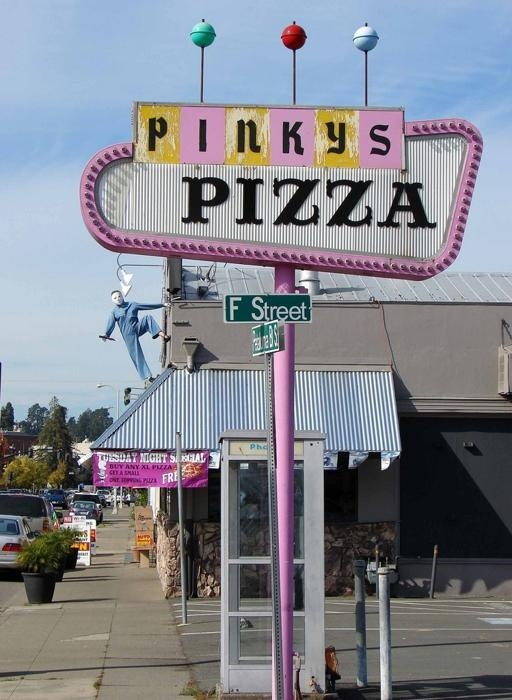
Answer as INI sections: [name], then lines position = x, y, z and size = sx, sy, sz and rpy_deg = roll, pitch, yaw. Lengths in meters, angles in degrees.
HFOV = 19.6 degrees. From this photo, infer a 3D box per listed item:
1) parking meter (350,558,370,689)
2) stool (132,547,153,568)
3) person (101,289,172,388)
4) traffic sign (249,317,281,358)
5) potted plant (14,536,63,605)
[parking meter]
position = 1.117, 2.927, 15.727
size = 0.166, 1.184, 0.300
rpy_deg = -1, -3, -4
[stool]
position = -2.365, 4.316, 30.426
size = 0.332, 0.479, 0.399
rpy_deg = 0, 7, -2
[person]
position = -1.870, -0.190, 22.657
size = 0.788, 1.423, 0.972
rpy_deg = 1, -5, -29
[traffic sign]
position = 0.099, -0.088, 13.093
size = 0.209, 0.334, 0.590
rpy_deg = 0, -5, -8
[potted plant]
position = -3.208, 3.289, 22.070
size = 0.633, 0.971, 1.129
rpy_deg = 0, -5, -8
